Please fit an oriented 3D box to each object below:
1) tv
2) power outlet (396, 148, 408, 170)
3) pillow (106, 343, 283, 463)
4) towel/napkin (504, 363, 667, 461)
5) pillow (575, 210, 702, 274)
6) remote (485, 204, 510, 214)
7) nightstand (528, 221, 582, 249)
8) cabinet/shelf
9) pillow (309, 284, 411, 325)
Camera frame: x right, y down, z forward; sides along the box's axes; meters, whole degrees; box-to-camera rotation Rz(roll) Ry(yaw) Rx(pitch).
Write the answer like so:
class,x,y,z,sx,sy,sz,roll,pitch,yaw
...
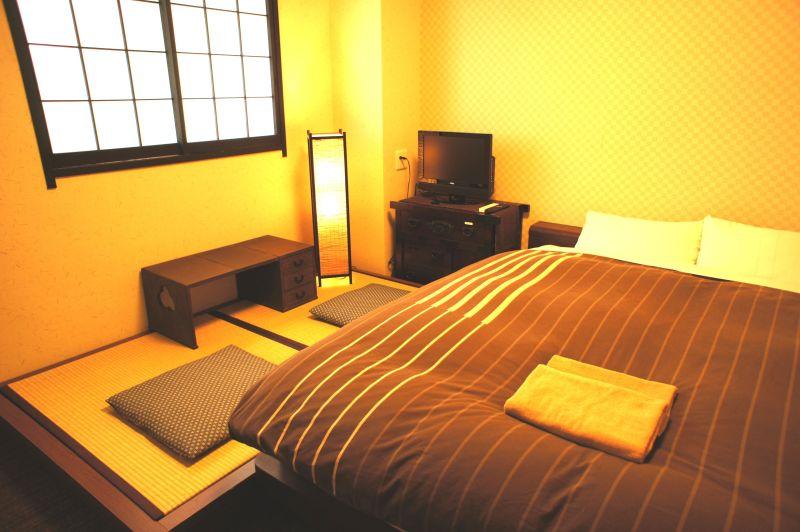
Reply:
class,x,y,z,sx,sy,sz,roll,pitch,yaw
tv,0.541,-0.944,5.168,0.714,0.552,0.251,11,24,28
power outlet,0.017,-1.015,5.352,0.031,0.178,0.180,14,22,35
pillow,-1.271,0.791,3.707,1.088,0.176,1.084,-1,30,0
towel/napkin,0.866,0.661,2.578,0.480,0.100,0.382,12,29,33
pillow,1.825,-0.204,4.290,0.767,0.098,0.456,8,59,29
remote,0.827,-0.488,4.872,0.101,0.027,0.347,17,28,35
nightstand,1.308,-0.276,4.779,0.413,0.205,0.348,8,-5,19
cabinet/shelf,0.458,-0.109,5.326,0.973,0.908,0.552,8,20,13
pillow,-0.344,0.304,4.593,0.371,0.118,0.508,18,26,40
